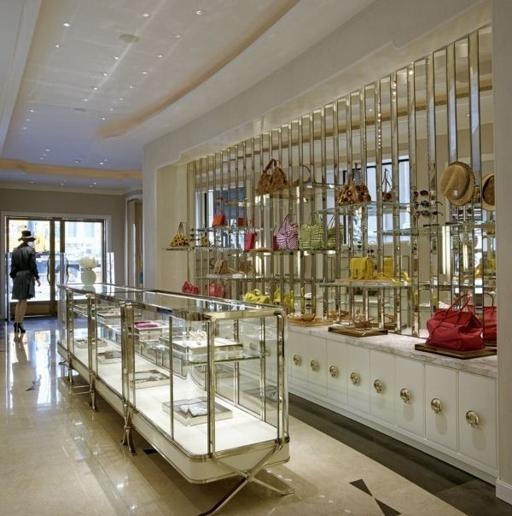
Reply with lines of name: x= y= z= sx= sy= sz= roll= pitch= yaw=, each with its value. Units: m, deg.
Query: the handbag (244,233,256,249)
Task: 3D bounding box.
handbag: x=-0.076 y=-0.219 z=5.854 sx=0.066 sy=0.192 sz=0.174 roll=5 pitch=-4 yaw=-24

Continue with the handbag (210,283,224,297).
handbag: x=-0.582 y=0.473 z=6.627 sx=0.147 sy=0.215 sz=0.265 roll=0 pitch=-2 yaw=-32

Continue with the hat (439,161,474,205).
hat: x=1.520 y=-0.570 z=3.391 sx=0.154 sy=0.237 sz=0.299 roll=0 pitch=-1 yaw=-36

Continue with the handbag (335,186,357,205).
handbag: x=0.865 y=-0.589 z=4.213 sx=0.045 sy=0.195 sz=0.176 roll=8 pitch=-6 yaw=-30

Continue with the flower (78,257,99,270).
flower: x=-2.828 y=0.084 z=7.503 sx=0.332 sy=0.274 sz=0.307 roll=-4 pitch=-5 yaw=41

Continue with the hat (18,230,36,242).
hat: x=-5.353 y=-0.504 z=10.478 sx=0.372 sy=0.324 sz=0.549 roll=-1 pitch=3 yaw=-11

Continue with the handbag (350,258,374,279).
handbag: x=0.976 y=0.095 z=4.152 sx=0.215 sy=0.200 sz=0.307 roll=-1 pitch=-1 yaw=13

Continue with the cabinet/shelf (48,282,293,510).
cabinet/shelf: x=-0.760 y=0.842 z=3.439 sx=0.596 sy=1.116 sz=2.561 roll=0 pitch=-1 yaw=-35

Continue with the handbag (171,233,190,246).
handbag: x=-1.206 y=-0.258 z=7.029 sx=0.205 sy=0.164 sz=0.204 roll=3 pitch=-5 yaw=-44

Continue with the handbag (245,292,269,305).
handbag: x=0.005 y=0.416 z=4.591 sx=0.161 sy=0.096 sz=0.228 roll=2 pitch=-2 yaw=-41

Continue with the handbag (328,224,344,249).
handbag: x=0.840 y=-0.226 z=4.690 sx=0.175 sy=0.255 sz=0.413 roll=-1 pitch=0 yaw=5

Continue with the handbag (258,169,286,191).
handbag: x=0.190 y=-0.913 z=5.273 sx=0.240 sy=0.279 sz=0.121 roll=-13 pitch=-23 yaw=40

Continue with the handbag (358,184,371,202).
handbag: x=0.986 y=-0.590 z=4.114 sx=0.087 sy=0.179 sz=0.064 roll=-9 pitch=-9 yaw=4

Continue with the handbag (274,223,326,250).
handbag: x=0.476 y=-0.242 z=5.096 sx=0.201 sy=0.318 sz=0.676 roll=0 pitch=-1 yaw=-36

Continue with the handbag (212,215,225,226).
handbag: x=-0.541 y=-0.542 z=6.499 sx=0.058 sy=0.172 sz=0.152 roll=-1 pitch=5 yaw=-42
